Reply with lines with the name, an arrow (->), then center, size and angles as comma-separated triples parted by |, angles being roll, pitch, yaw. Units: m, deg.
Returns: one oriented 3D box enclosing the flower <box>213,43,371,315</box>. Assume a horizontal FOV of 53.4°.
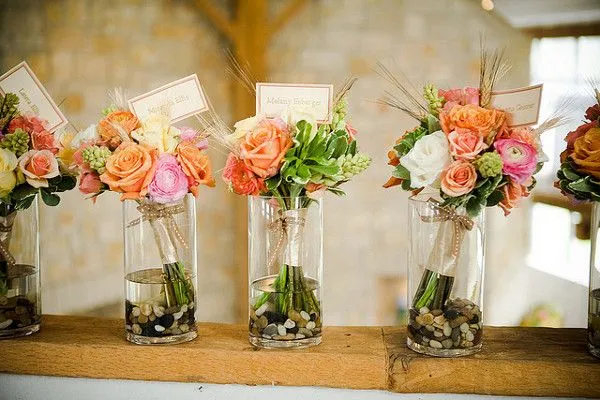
flower -> -0.034, -0.126, 2.170 | 0.611, 0.680, 0.577 | 8, 45, 24
